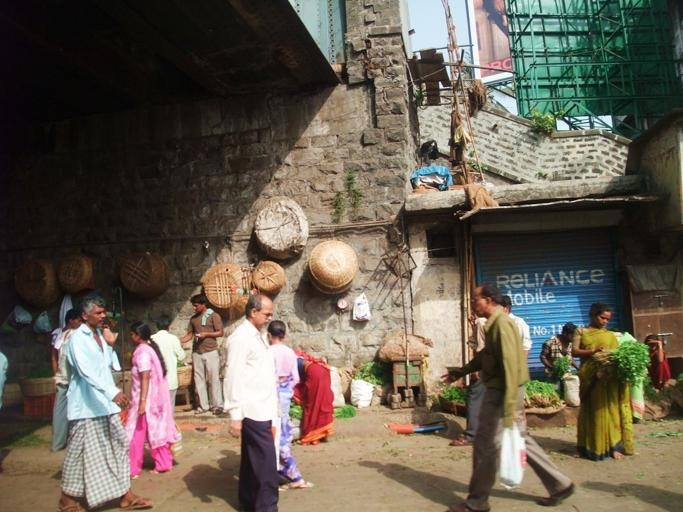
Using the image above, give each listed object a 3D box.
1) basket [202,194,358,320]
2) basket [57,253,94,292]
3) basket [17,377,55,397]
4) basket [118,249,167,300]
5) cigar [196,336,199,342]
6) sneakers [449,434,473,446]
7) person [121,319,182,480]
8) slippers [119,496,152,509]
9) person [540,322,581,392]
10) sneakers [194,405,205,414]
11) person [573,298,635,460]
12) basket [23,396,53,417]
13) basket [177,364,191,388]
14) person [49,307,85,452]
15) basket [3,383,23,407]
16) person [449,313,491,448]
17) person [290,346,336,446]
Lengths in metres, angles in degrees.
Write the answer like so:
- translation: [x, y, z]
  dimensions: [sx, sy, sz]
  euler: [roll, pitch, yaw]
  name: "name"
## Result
- translation: [-1.216, 0.034, 12.174]
  dimensions: [2.752, 2.123, 0.620]
  euler: [-1, 6, 7]
  name: "basket"
- translation: [-5.158, 0.357, 12.683]
  dimensions: [0.653, 0.746, 0.289]
  euler: [0, 6, 11]
  name: "basket"
- translation: [-5.441, 2.303, 11.955]
  dimensions: [0.442, 0.227, 0.523]
  euler: [0, -8, 3]
  name: "basket"
- translation: [-3.765, 0.392, 12.613]
  dimensions: [0.868, 0.883, 0.378]
  euler: [0, 6, 13]
  name: "basket"
- translation: [-2.530, 1.464, 11.573]
  dimensions: [0.028, 0.025, 0.107]
  euler: [-38, -10, -41]
  name: "cigar"
- translation: [1.801, 2.779, 9.942]
  dimensions: [0.325, 0.149, 0.158]
  euler: [2, -13, 4]
  name: "sneakers"
- translation: [-2.607, 1.999, 9.218]
  dimensions: [0.728, 1.919, 0.637]
  euler: [0, -2, 10]
  name: "person"
- translation: [-2.525, 3.044, 8.162]
  dimensions: [0.399, 0.185, 0.154]
  euler: [2, -5, -6]
  name: "slippers"
- translation: [3.652, 1.650, 11.143]
  dimensions: [0.604, 1.233, 0.547]
  euler: [2, 2, 18]
  name: "person"
- translation: [-2.487, 2.704, 11.554]
  dimensions: [0.177, 0.116, 0.103]
  euler: [-21, -20, 39]
  name: "sneakers"
- translation: [3.601, 1.707, 9.233]
  dimensions: [0.661, 2.154, 0.796]
  euler: [1, 4, -33]
  name: "person"
- translation: [-5.375, 2.648, 11.629]
  dimensions: [0.638, 0.343, 0.242]
  euler: [0, 6, 14]
  name: "basket"
- translation: [-2.761, 2.137, 11.666]
  dimensions: [0.203, 0.301, 0.298]
  euler: [1, 0, -8]
  name: "basket"
- translation: [-4.079, 1.871, 9.769]
  dimensions: [0.533, 2.023, 0.496]
  euler: [3, -10, 24]
  name: "person"
- translation: [-6.120, 2.612, 12.319]
  dimensions: [0.316, 0.378, 0.351]
  euler: [4, -9, -36]
  name: "basket"
- translation: [1.981, 1.912, 10.022]
  dimensions: [0.487, 2.000, 0.646]
  euler: [1, 5, 3]
  name: "person"
- translation: [-0.517, 2.258, 10.395]
  dimensions: [0.613, 1.241, 0.676]
  euler: [4, 5, -12]
  name: "person"
